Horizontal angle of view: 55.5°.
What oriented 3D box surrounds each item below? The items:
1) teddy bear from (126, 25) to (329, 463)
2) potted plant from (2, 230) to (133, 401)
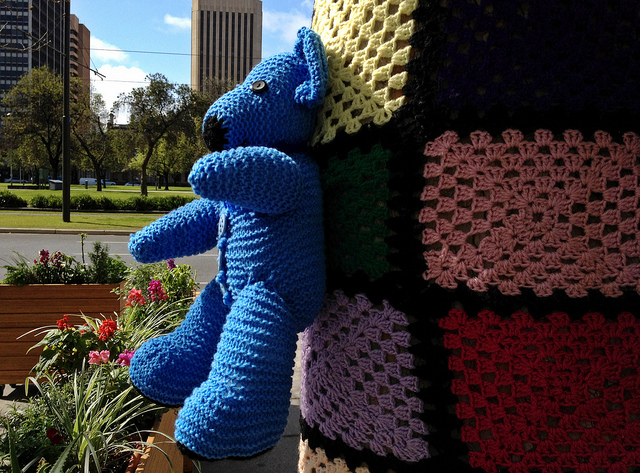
[{"bbox_3d":[-0.260,0.019,1.794,0.530,1.359,0.539,1,5,-24],"label":"teddy bear"},{"bbox_3d":[-1.831,0.548,4.329,0.604,0.802,1.222,0,-2,-4],"label":"potted plant"}]
